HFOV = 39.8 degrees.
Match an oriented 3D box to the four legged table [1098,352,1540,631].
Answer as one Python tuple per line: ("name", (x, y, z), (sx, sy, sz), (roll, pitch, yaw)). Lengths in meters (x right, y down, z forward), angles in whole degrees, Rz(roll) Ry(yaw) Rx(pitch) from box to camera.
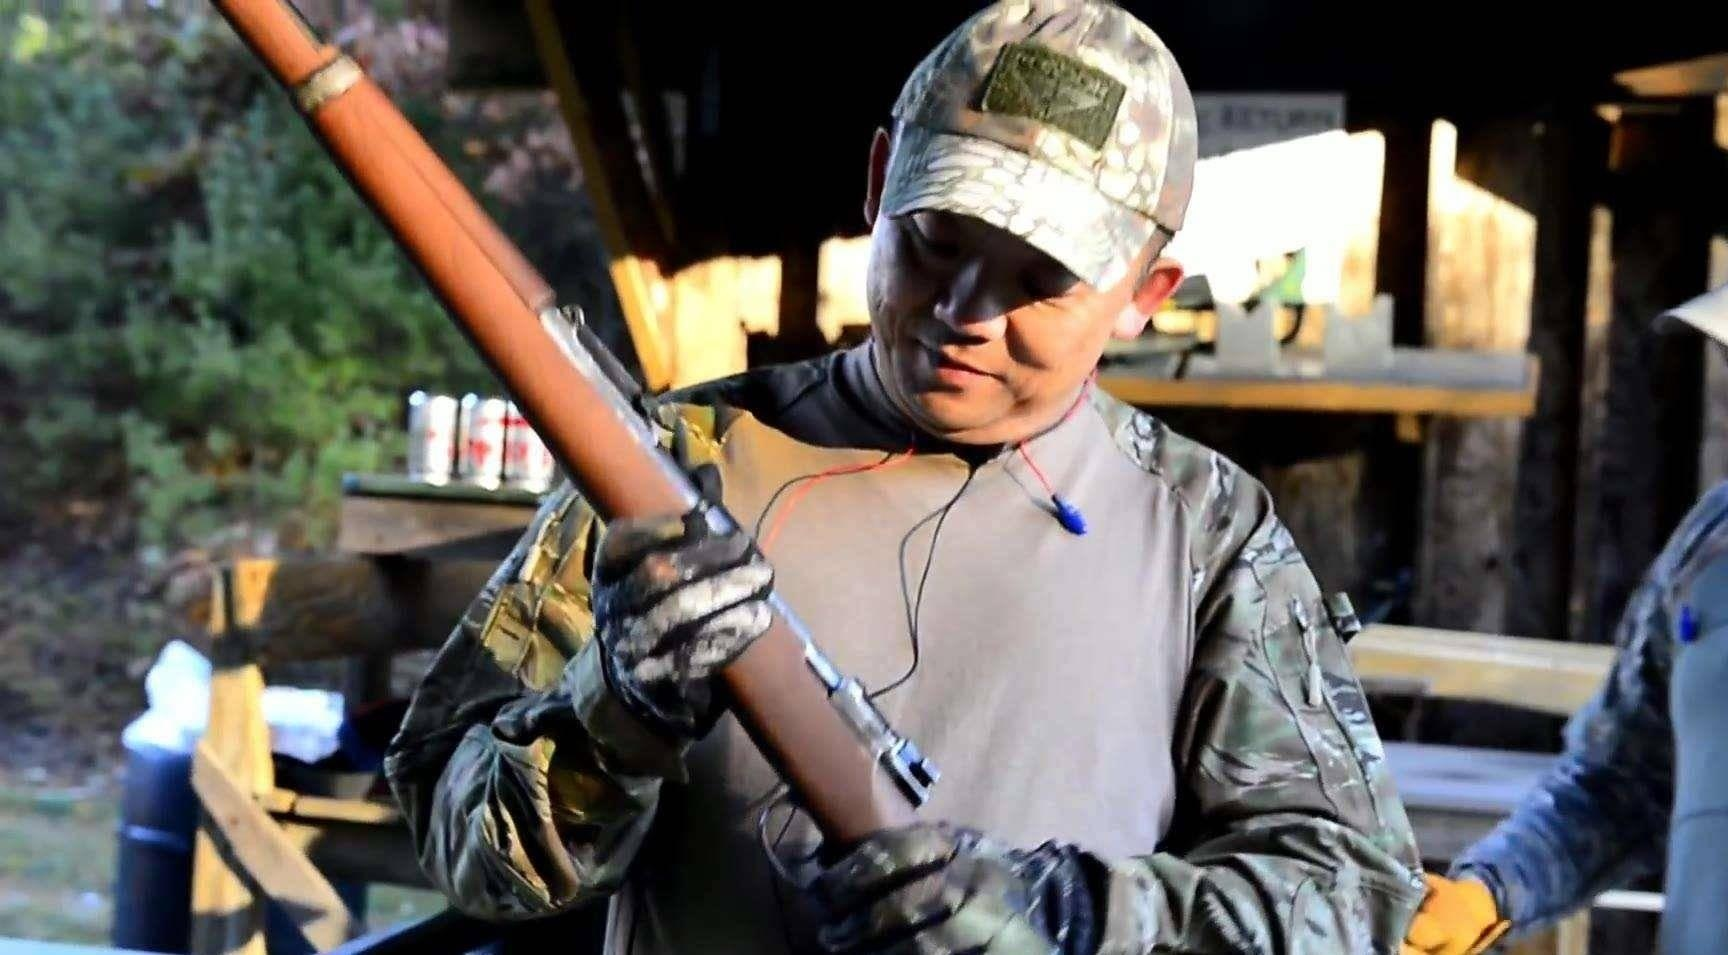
("four legged table", (3.576, -0.155, 17.949), (2.437, 2.789, 1.978), (2, 10, 9))
